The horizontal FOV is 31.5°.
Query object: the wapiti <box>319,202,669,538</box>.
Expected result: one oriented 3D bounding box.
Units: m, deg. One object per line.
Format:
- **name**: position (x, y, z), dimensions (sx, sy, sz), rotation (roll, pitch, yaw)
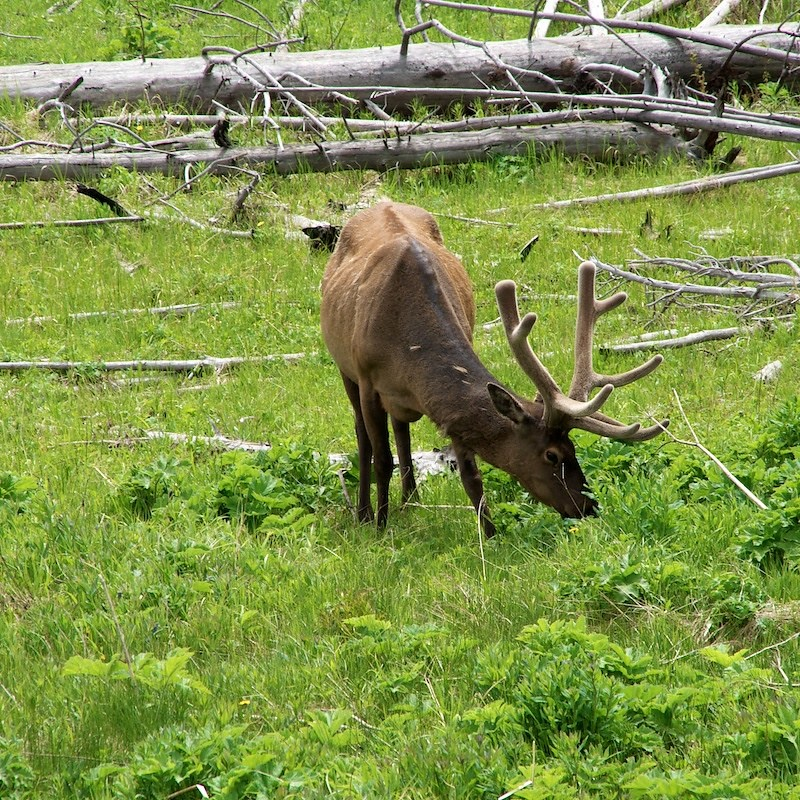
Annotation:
- **wapiti**: position (0.569, -0.116, 8.400), dimensions (0.702, 1.798, 2.168), rotation (-14, 34, -19)
